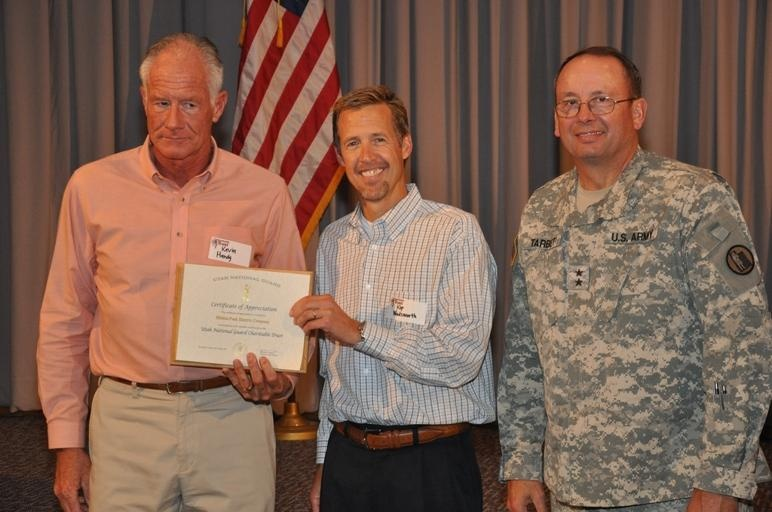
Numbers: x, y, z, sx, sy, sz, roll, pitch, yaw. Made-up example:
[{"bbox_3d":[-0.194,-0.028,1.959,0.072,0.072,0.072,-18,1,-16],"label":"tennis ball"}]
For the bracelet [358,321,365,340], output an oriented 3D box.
[{"bbox_3d":[-0.097,0.307,3.316,0.023,0.070,0.019,-2,-10,-1],"label":"bracelet"}]
